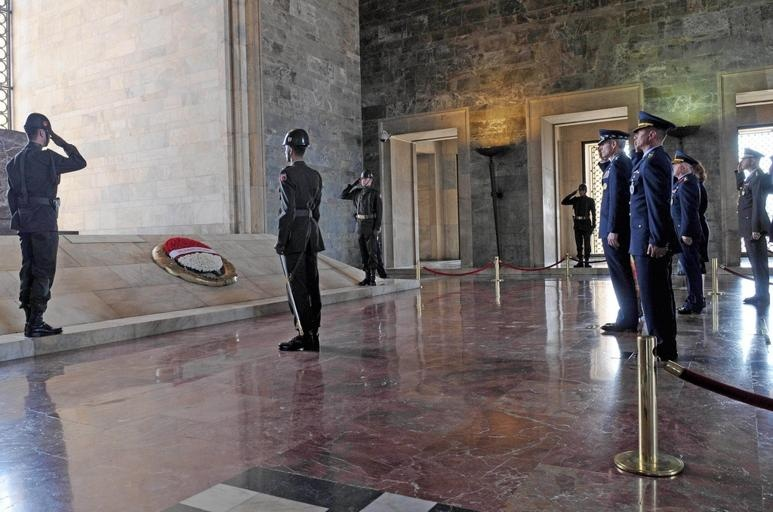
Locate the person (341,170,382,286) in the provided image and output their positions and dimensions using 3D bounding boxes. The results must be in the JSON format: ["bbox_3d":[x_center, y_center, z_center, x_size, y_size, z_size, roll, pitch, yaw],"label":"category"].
[{"bbox_3d":[-0.447,-0.567,11.796,0.743,2.293,1.152,-4,14,-5],"label":"person"}]

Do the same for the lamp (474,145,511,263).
[{"bbox_3d":[3.106,-1.581,17.067,0.589,3.190,0.928,-14,18,-39],"label":"lamp"}]

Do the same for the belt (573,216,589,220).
[{"bbox_3d":[5.066,-1.002,15.469,0.306,0.094,0.078,3,14,20],"label":"belt"}]

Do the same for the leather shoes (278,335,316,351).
[{"bbox_3d":[-1.011,1.007,6.853,0.482,0.178,0.166,3,-6,-3],"label":"leather shoes"}]

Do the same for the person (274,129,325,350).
[{"bbox_3d":[-1.027,-0.166,6.870,0.608,2.567,0.913,-4,14,-6],"label":"person"}]

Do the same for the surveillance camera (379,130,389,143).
[{"bbox_3d":[-0.002,-3.658,18.103,0.167,0.360,0.371,7,23,-36],"label":"surveillance camera"}]

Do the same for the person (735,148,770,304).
[{"bbox_3d":[5.566,-0.480,8.947,0.543,2.257,0.994,5,16,29],"label":"person"}]

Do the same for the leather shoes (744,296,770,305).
[{"bbox_3d":[5.509,0.650,8.824,0.384,0.147,0.140,3,2,34],"label":"leather shoes"}]

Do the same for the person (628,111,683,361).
[{"bbox_3d":[2.672,-0.199,5.870,0.441,2.413,0.810,0,14,9],"label":"person"}]

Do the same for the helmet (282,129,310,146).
[{"bbox_3d":[-1.104,-1.382,6.886,0.401,0.188,0.312,13,17,31],"label":"helmet"}]

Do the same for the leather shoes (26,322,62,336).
[{"bbox_3d":[-4.065,0.871,7.076,0.426,0.168,0.156,1,2,-38],"label":"leather shoes"}]
